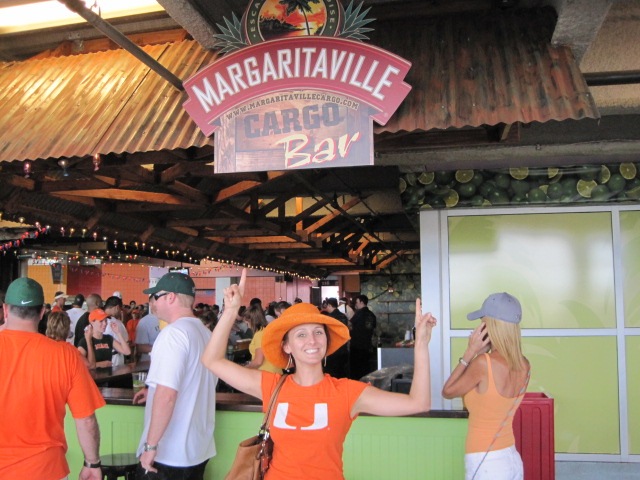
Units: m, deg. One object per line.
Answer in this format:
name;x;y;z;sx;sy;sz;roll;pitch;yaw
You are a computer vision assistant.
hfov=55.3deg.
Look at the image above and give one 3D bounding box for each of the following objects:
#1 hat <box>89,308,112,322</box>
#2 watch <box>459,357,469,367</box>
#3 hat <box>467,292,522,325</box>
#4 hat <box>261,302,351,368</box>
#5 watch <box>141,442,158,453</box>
hat;-2.849;0.966;7.900;0.226;0.109;0.156;-2;-2;21
watch;1.138;0.955;4.802;0.082;0.049;0.074;10;14;-46
hat;1.423;0.526;4.970;0.464;0.205;0.322;-1;7;33
hat;-0.130;0.624;4.204;0.523;0.222;0.502;-24;-41;1
watch;-1.317;1.599;4.735;0.088;0.057;0.106;1;-15;-2
